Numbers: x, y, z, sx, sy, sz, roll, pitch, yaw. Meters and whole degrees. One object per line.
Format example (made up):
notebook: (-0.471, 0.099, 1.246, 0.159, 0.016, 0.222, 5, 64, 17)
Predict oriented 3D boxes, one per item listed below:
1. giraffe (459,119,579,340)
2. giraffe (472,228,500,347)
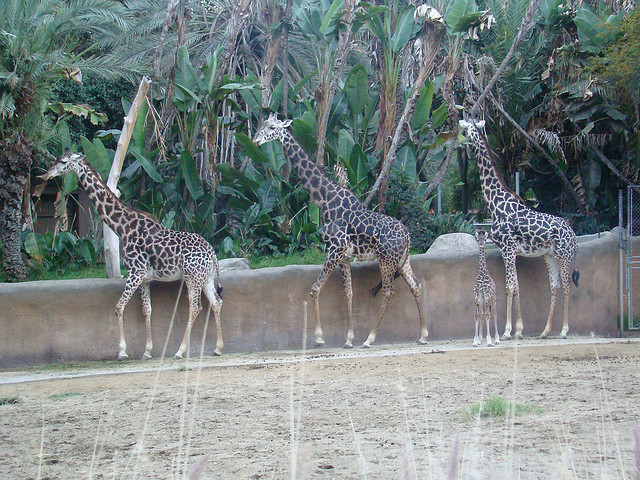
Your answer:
giraffe: (3.753, -0.223, 16.799, 1.845, 3.986, 1.150, -3, -1, 15)
giraffe: (2.958, 0.863, 16.514, 0.502, 2.011, 1.348, -3, -1, 11)
